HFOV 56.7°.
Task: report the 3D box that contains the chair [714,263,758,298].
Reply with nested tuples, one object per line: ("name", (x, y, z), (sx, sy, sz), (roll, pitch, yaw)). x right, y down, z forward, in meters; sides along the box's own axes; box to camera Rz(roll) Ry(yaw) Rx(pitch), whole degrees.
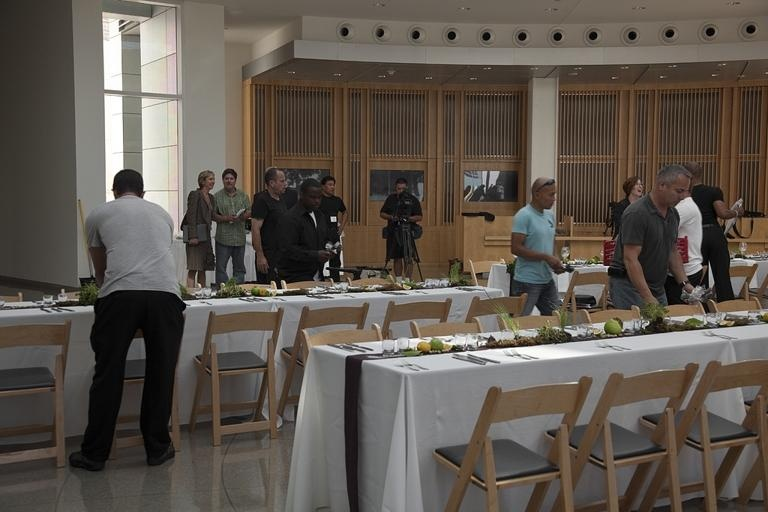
("chair", (4.783, 0.332, 9.685), (0.406, 0.661, 0.481), (1, 6, 10))

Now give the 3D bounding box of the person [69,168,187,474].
("person", (-2.130, 0.523, 5.830), (1.005, 2.345, 0.755), (-10, 16, -27))

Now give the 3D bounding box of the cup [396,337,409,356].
("cup", (0.139, 0.654, 5.155), (0.087, 0.108, 0.092), (-1, 5, 0))

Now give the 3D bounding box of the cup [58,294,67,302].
("cup", (-3.041, 0.403, 6.705), (0.071, 0.073, 0.073), (1, -4, 0))

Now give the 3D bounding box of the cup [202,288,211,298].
("cup", (-1.772, 0.378, 7.100), (0.096, 0.076, 0.079), (-1, 5, -10))

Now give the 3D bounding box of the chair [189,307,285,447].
("chair", (-1.349, 1.011, 6.408), (0.901, 1.183, 0.795), (-7, 15, -19))

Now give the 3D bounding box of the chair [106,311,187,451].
("chair", (-2.128, 1.239, 6.377), (0.732, 1.528, 0.959), (2, -2, -19))

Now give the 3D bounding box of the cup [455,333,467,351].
("cup", (0.566, 0.649, 5.296), (0.085, 0.097, 0.087), (0, -2, 0))

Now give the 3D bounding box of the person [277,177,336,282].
("person", (-0.879, -0.250, 7.789), (0.617, 1.206, 0.640), (-5, 14, -11))

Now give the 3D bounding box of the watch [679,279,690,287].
("watch", (2.903, 0.265, 6.826), (0.093, 0.066, 0.098), (-3, -7, -4))

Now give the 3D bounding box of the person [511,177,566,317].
("person", (1.644, -0.038, 7.572), (0.557, 1.561, 0.709), (0, 14, 10))

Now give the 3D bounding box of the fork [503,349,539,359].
("fork", (0.974, 0.708, 5.051), (0.075, 0.038, 0.254), (-9, 11, -32))

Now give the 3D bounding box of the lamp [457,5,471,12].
("lamp", (1.524, -4.664, 13.395), (0.208, 0.067, 0.272), (0, 15, 11))

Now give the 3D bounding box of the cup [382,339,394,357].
("cup", (0.029, 0.664, 5.083), (0.097, 0.114, 0.097), (0, 5, 0))

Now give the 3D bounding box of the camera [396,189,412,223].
("camera", (0.368, -0.926, 13.042), (0.208, 0.550, 0.272), (-5, 14, -10))

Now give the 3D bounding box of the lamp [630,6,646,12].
("lamp", (4.824, -4.675, 13.406), (0.286, 0.080, 0.304), (-1, 14, 4))

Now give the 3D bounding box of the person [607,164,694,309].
("person", (2.562, -0.137, 6.602), (0.698, 1.394, 0.664), (-6, 14, -12))

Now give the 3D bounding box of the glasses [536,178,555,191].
("glasses", (1.680, -0.757, 7.466), (0.218, 0.121, 0.165), (2, 15, 18))

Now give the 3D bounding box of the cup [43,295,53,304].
("cup", (-3.106, 0.403, 6.547), (0.075, 0.072, 0.078), (0, 4, 0))
